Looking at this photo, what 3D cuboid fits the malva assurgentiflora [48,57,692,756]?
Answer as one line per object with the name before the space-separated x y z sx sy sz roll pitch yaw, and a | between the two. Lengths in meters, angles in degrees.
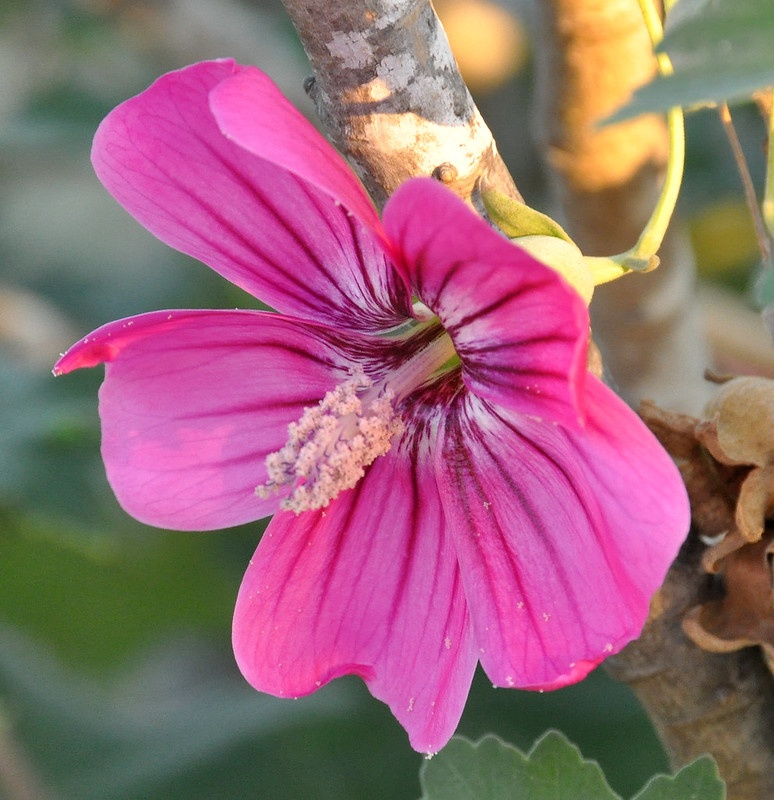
malva assurgentiflora | -0.057 0.021 0.892 0.324 0.519 0.500 -25 45 -14
